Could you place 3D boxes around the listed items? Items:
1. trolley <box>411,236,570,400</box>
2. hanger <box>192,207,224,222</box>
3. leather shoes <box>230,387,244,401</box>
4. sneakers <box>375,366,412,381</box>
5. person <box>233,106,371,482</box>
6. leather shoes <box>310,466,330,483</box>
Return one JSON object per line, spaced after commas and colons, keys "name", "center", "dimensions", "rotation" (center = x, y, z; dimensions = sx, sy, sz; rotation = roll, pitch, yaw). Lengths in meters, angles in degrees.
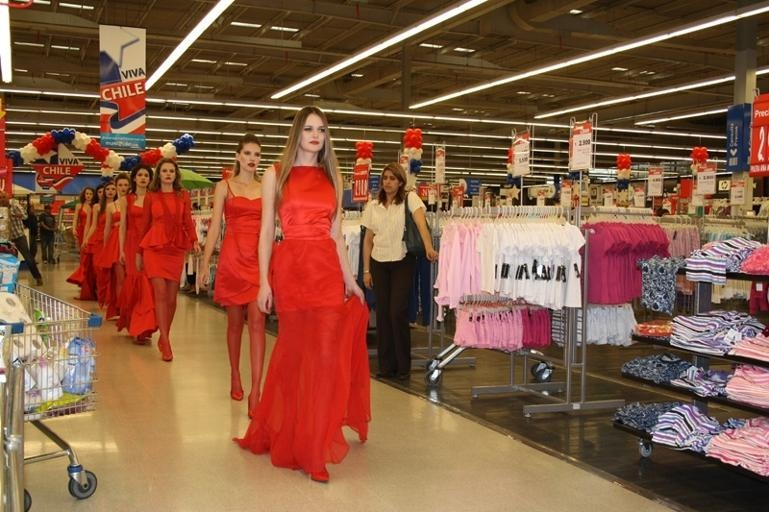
{"name": "trolley", "center": [1.113, 0.498, 5.682], "dimensions": [1.343, 1.606, 1.755], "rotation": [2, 4, -4]}
{"name": "hanger", "center": [-2.818, -0.663, 8.919], "dimensions": [0.842, 0.173, 0.727], "rotation": [0, 3, -18]}
{"name": "leather shoes", "center": [-1.304, 1.214, 4.976], "dimensions": [0.079, 0.108, 0.120], "rotation": [5, -12, -25]}
{"name": "sneakers", "center": [0.099, 1.204, 5.832], "dimensions": [0.375, 0.144, 0.120], "rotation": [4, -9, 5]}
{"name": "person", "center": [-0.503, 0.179, 3.736], "dimensions": [0.528, 2.378, 0.775], "rotation": [-1, 5, -39]}
{"name": "leather shoes", "center": [-0.389, 1.352, 3.495], "dimensions": [0.058, 0.071, 0.166], "rotation": [10, -22, -36]}
